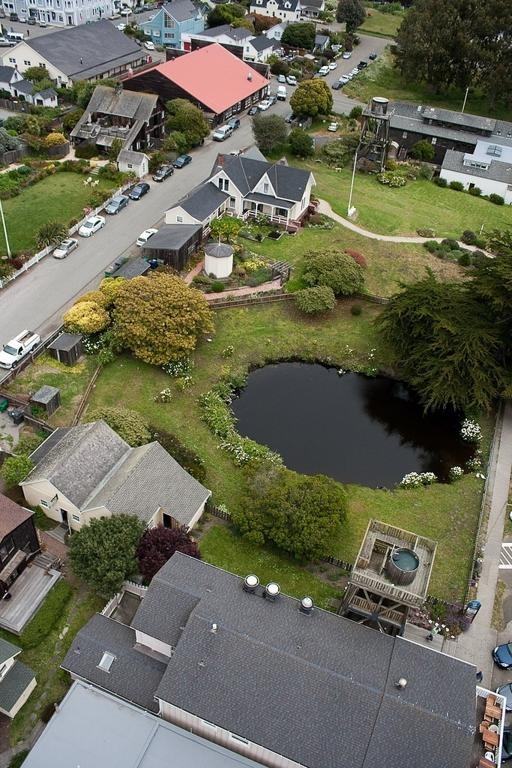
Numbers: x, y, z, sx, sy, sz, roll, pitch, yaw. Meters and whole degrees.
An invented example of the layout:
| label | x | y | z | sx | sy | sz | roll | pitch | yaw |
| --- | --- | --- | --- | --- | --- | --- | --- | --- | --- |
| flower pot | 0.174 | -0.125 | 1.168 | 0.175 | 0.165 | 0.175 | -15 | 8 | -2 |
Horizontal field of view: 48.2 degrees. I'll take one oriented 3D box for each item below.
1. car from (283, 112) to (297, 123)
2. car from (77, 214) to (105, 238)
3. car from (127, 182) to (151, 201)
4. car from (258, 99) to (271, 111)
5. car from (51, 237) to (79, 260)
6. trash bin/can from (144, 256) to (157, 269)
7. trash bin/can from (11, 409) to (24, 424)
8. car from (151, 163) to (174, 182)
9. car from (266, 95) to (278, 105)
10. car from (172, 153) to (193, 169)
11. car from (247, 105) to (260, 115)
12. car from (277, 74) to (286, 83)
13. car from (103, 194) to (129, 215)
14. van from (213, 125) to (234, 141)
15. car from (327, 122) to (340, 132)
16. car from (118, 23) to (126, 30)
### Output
| label | x | y | z | sx | sy | sz | roll | pitch | yaw |
| --- | --- | --- | --- | --- | --- | --- | --- | --- | --- |
| car | 6.110 | -45.661 | 98.559 | 1.753 | 1.427 | 3.202 | 5 | 46 | 11 |
| car | -18.674 | -17.900 | 65.498 | 1.586 | 1.104 | 3.673 | 17 | 45 | 13 |
| car | -14.878 | -24.496 | 73.404 | 1.628 | 1.268 | 3.516 | 13 | 41 | 11 |
| car | 1.529 | -49.268 | 101.152 | 1.986 | 1.398 | 3.284 | 11 | 51 | 9 |
| car | -20.428 | -14.480 | 61.611 | 1.471 | 1.118 | 3.394 | 24 | 43 | 4 |
| trash bin/can | -10.857 | -12.688 | 59.839 | 1.267 | 1.241 | 1.028 | 24 | 65 | 14 |
| trash bin/can | -17.942 | 2.503 | 43.211 | 0.776 | 1.145 | 0.766 | -23 | 37 | -36 |
| car | -12.504 | -28.440 | 77.936 | 1.636 | 1.246 | 3.705 | 19 | 46 | 12 |
| car | 2.901 | -51.323 | 104.123 | 1.512 | 1.115 | 3.319 | 6 | 44 | 5 |
| car | -10.393 | -31.494 | 81.461 | 1.470 | 1.097 | 3.309 | 23 | 52 | 7 |
| car | -0.229 | -47.167 | 98.901 | 1.457 | 1.305 | 2.680 | 17 | 62 | 20 |
| car | 5.171 | -60.828 | 114.132 | 1.268 | 0.943 | 2.261 | -3 | 53 | -5 |
| car | -16.957 | -21.616 | 69.991 | 1.638 | 1.178 | 3.602 | 20 | 46 | 9 |
| van | -5.107 | -39.256 | 90.293 | 2.061 | 1.553 | 4.153 | 25 | 51 | 15 |
| car | 13.377 | -43.822 | 97.940 | 1.213 | 1.119 | 2.398 | 8 | 39 | 11 |
| car | -31.329 | -83.100 | 133.366 | 1.914 | 1.542 | 6.798 | -5 | 30 | -10 |
